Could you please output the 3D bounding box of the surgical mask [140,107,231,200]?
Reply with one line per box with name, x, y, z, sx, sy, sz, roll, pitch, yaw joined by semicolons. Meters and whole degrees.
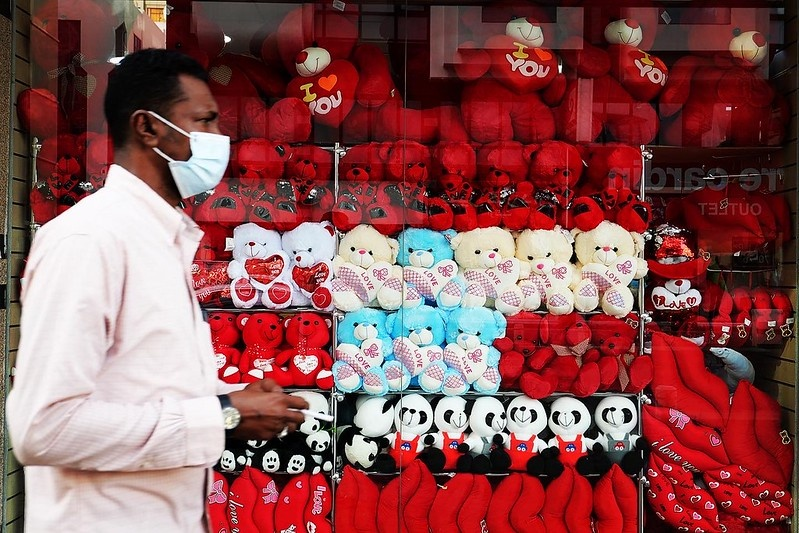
surgical mask;-0.607;-0.331;2.279;0.237;0.174;0.208;9;10;-9
